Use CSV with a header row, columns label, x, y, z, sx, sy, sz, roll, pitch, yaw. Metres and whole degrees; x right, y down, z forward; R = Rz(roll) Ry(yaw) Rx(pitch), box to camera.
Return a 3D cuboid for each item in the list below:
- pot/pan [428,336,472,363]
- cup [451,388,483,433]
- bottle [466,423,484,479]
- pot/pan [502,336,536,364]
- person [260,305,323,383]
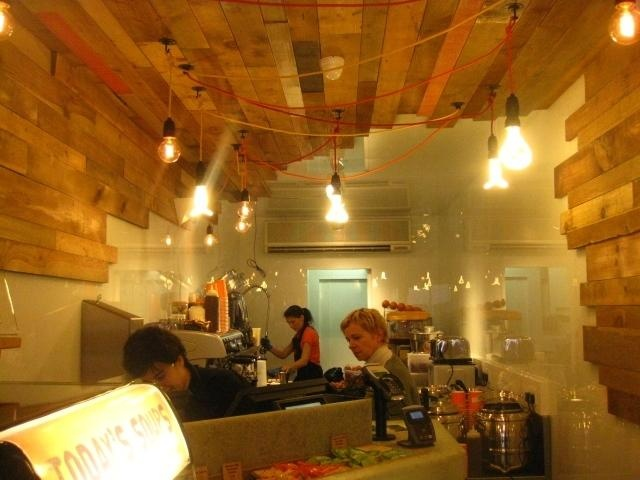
label,x,y,z,sx,sy,sz,roll,pitch,yaw
pot/pan,1.148,0.979,4.721,0.316,0.181,0.230,0,-16,-1
cup,1.033,1.223,3.745,0.225,0.336,0.209,1,-19,0
bottle,1.068,1.481,3.649,0.092,0.304,0.203,-7,-12,25
pot/pan,1.699,0.921,4.493,0.195,0.264,0.374,2,-13,13
person,-0.281,1.045,5.462,0.587,0.816,1.063,0,-12,-8
